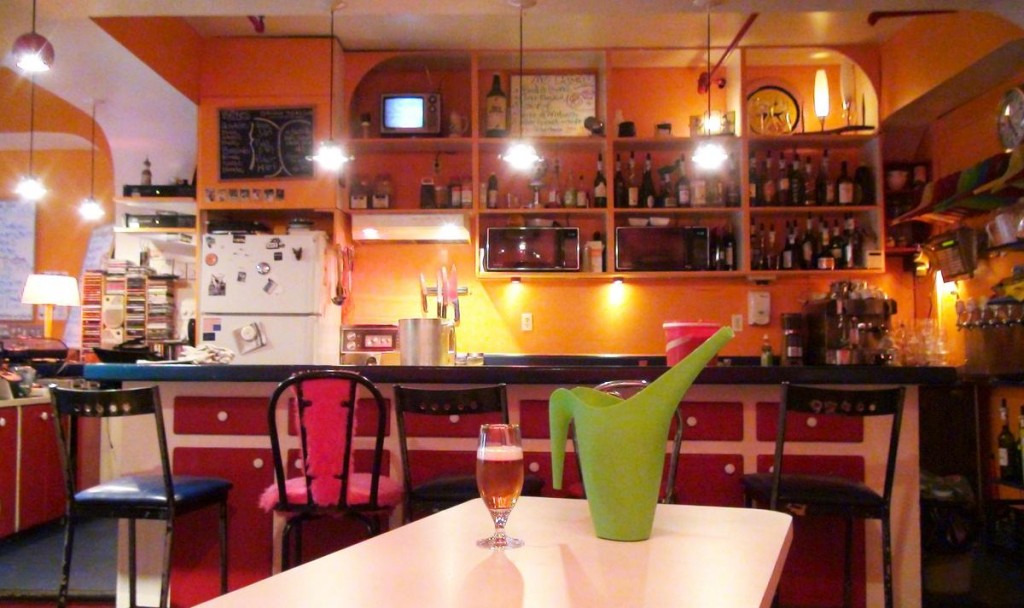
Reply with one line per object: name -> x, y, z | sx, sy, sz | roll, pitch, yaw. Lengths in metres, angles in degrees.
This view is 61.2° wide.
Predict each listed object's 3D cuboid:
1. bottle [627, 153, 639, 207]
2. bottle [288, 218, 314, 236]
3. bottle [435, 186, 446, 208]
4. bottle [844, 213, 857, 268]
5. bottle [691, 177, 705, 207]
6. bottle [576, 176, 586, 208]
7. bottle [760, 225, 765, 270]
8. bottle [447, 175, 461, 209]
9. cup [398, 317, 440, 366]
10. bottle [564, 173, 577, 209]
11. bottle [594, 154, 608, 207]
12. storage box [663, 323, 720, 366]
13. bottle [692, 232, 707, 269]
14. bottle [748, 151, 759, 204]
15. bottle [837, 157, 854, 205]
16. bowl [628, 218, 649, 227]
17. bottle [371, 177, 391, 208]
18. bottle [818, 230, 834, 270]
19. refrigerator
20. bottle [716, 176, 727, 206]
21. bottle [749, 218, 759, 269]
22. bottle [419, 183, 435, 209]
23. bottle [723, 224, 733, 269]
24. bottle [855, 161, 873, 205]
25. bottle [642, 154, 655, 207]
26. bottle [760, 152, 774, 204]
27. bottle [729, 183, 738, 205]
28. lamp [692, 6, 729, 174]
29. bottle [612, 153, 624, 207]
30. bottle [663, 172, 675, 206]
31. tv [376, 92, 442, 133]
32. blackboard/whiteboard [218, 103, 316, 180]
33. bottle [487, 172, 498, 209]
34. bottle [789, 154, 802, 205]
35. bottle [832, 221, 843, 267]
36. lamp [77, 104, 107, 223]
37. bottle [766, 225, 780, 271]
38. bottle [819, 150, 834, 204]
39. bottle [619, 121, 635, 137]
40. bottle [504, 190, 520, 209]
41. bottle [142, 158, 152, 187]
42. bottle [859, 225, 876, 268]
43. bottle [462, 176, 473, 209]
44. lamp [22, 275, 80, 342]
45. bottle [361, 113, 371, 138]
bottle -> 1.148, -1.196, 8.242 | 0.102, 0.562, 0.314 | 0, -2, 11
bottle -> -1.984, -0.725, 8.123 | 0.179, 0.103, 0.174 | 2, 3, 0
bottle -> -0.665, -1.022, 8.222 | 0.123, 0.209, 0.066 | 1, -2, -15
bottle -> 3.136, -0.568, 8.030 | 0.115, 0.479, 0.146 | -1, -2, 34
bottle -> 1.744, -1.036, 8.104 | 0.129, 0.241, 0.051 | 0, -2, 5
bottle -> 0.669, -1.083, 8.257 | 0.098, 0.348, 0.275 | 0, -2, 4
bottle -> 2.387, -0.544, 8.212 | 0.063, 0.421, 0.227 | 0, -2, 16
bottle -> -0.538, -1.069, 8.242 | 0.123, 0.311, 0.180 | 0, -2, -5
cup -> -0.654, 0.273, 6.128 | 0.324, 0.340, 0.315 | 1, 2, 0
bottle -> 0.546, -1.091, 8.257 | 0.122, 0.365, 0.266 | 0, -2, 1
bottle -> 0.839, -1.183, 8.240 | 0.114, 0.547, 0.329 | 0, -2, 2
storage box -> 1.263, 0.304, 6.161 | 0.439, 0.334, 0.398 | 0, -2, -14
bottle -> 1.715, -0.502, 7.904 | 0.165, 0.385, 0.043 | 1, -2, -11
bottle -> 2.319, -1.207, 8.273 | 0.081, 0.555, 0.361 | 0, -2, 16
bottle -> 3.120, -1.121, 8.085 | 0.150, 0.410, 0.173 | -1, -2, 25
bowl -> 1.179, -0.766, 8.074 | 0.184, 0.089, 0.116 | 0, -2, 2
bottle -> -1.241, -1.067, 8.227 | 0.180, 0.332, 0.197 | 0, -2, 0
bottle -> 2.922, -0.505, 8.052 | 0.124, 0.390, 0.201 | 0, -2, 21
refrigerator -> -2.479, -0.060, 8.364 | 1.115, 1.433, 0.973 | -3, 18, -28
bottle -> 2.003, -1.065, 8.229 | 0.080, 0.268, 0.219 | 0, -2, 15
bottle -> 2.323, -0.576, 8.214 | 0.121, 0.506, 0.273 | 0, -2, 16
bottle -> -0.793, -1.025, 8.178 | 0.150, 0.250, 0.123 | 0, -2, -8
bottle -> 2.043, -0.515, 8.139 | 0.090, 0.379, 0.127 | 0, -2, 15
bottle -> 3.318, -1.124, 8.130 | 0.167, 0.378, 0.113 | 0, -2, 15
bottle -> 1.293, -1.179, 8.257 | 0.142, 0.546, 0.297 | 0, -2, 9
bottle -> 2.422, -1.174, 8.214 | 0.125, 0.484, 0.101 | 1, -2, -35
bottle -> 2.093, -1.034, 8.194 | 0.099, 0.215, 0.173 | 0, -2, 10
lamp -> 1.817, -1.886, 7.926 | 0.310, 1.399, 1.106 | 0, -2, 13
bottle -> 1.041, -1.181, 8.267 | 0.122, 0.543, 0.283 | 0, -2, 10
bottle -> 1.497, -1.078, 8.198 | 0.111, 0.358, 0.313 | 0, -2, 10
tv -> -0.914, -1.822, 8.289 | 0.617, 0.382, 0.385 | 1, 7, 15
blackboard/whiteboard -> -2.268, -1.512, 8.135 | 0.769, 0.539, 0.077 | 0, -4, -1
bottle -> -0.189, -1.079, 8.271 | 0.127, 0.358, 0.277 | 0, -2, -1
bottle -> 2.668, -1.168, 8.156 | 0.092, 0.479, 0.087 | 0, -2, 0
bottle -> 3.065, -0.550, 8.144 | 0.095, 0.442, 0.293 | -1, -2, 21
lamp -> -4.558, -1.491, 9.388 | 0.262, 1.157, 0.812 | 1, -2, -26
bottle -> 2.487, -0.535, 8.225 | 0.101, 0.423, 0.247 | 0, -2, 17
bottle -> 2.985, -1.205, 8.228 | 0.126, 0.563, 0.302 | 0, -2, 19
bottle -> 1.081, -1.657, 8.222 | 0.155, 0.162, 0.155 | 4, 3, 28
bottle -> 0.015, -1.000, 8.305 | 0.182, 0.168, 0.155 | 2, 0, 21
bottle -> -3.680, -1.344, 8.723 | 0.095, 0.287, 0.296 | 1, -2, -24
bottle -> 3.316, -0.520, 8.074 | 0.147, 0.403, 0.206 | 0, -2, 3
bottle -> -0.426, -1.054, 8.179 | 0.096, 0.303, 0.230 | 0, -2, -7
lamp -> -4.852, 0.009, 9.096 | 0.492, 0.690, 0.906 | 1, -2, -28
bottle -> -1.409, -1.720, 8.333 | 0.097, 0.262, 0.273 | 0, -2, -9
